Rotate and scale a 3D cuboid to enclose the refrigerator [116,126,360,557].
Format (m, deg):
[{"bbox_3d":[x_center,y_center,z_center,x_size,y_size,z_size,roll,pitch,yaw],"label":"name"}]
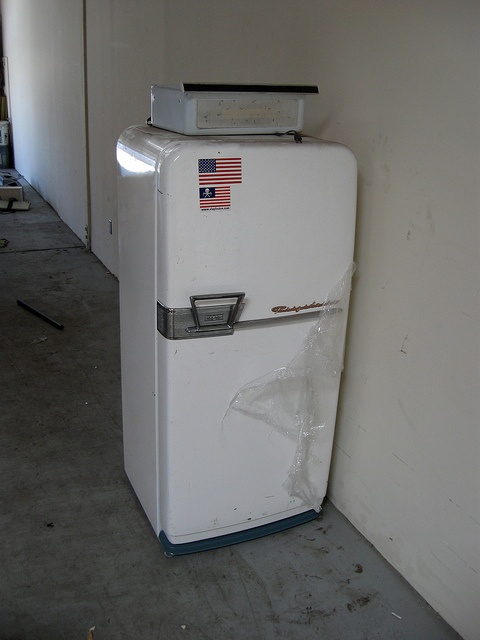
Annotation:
[{"bbox_3d":[-0.021,0.075,1.978,0.603,1.241,0.556,-6,16,-23],"label":"refrigerator"}]
